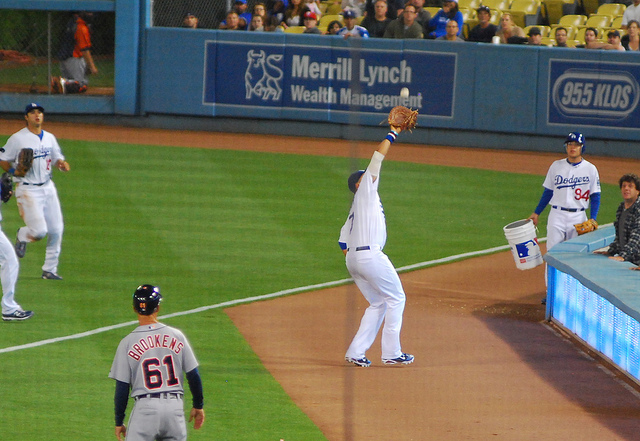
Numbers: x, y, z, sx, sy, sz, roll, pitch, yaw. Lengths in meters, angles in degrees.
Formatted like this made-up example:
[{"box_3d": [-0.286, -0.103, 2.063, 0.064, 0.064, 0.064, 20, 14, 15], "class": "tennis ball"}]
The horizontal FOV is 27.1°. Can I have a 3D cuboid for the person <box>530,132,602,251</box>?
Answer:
[{"box_3d": [4.171, -0.492, 22.570, 1.042, 1.925, 0.639, 4, 13, 11], "class": "person"}]

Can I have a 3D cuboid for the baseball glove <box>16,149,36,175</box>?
[{"box_3d": [-4.835, -0.992, 22.243, 0.311, 0.388, 0.137, 4, 7, -2], "class": "baseball glove"}]

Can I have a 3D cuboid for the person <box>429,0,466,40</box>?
[{"box_3d": [2.889, -4.600, 30.529, 0.765, 0.845, 1.462, 3, 11, 5], "class": "person"}]

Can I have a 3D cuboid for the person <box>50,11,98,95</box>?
[{"box_3d": [-5.784, -3.990, 31.783, 1.062, 1.986, 0.573, 0, 13, -9], "class": "person"}]

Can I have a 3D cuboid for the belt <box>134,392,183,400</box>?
[{"box_3d": [-2.150, 2.364, 18.221, 0.590, 0.093, 0.059, 0, 13, -7], "class": "belt"}]

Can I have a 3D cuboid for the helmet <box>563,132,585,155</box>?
[{"box_3d": [4.305, -1.308, 22.647, 0.304, 0.342, 0.342, 3, 12, 5], "class": "helmet"}]

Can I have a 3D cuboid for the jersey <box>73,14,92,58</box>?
[{"box_3d": [-5.586, -4.365, 31.595, 0.398, 0.883, 0.607, -12, 55, -16], "class": "jersey"}]

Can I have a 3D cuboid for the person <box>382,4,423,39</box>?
[{"box_3d": [1.915, -4.520, 30.237, 0.943, 0.759, 0.378, 8, 14, 29], "class": "person"}]

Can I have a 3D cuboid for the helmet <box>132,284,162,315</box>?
[{"box_3d": [-2.355, 1.133, 18.491, 0.417, 0.439, 0.498, 1, 13, 5], "class": "helmet"}]

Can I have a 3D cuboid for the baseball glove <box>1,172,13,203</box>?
[{"box_3d": [-5.105, -0.552, 21.992, 0.176, 0.451, 0.347, -1, 13, -13], "class": "baseball glove"}]

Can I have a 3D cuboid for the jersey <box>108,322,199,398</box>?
[{"box_3d": [-2.193, 1.861, 18.482, 0.949, 1.026, 1.210, 18, 16, 20], "class": "jersey"}]

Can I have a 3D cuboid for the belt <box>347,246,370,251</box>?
[{"box_3d": [0.670, 0.416, 20.486, 0.200, 0.074, 0.018, 2, 13, 3], "class": "belt"}]

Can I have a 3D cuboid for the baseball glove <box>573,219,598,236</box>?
[{"box_3d": [4.467, 0.100, 22.582, 0.382, 0.192, 0.138, -19, 5, -17], "class": "baseball glove"}]

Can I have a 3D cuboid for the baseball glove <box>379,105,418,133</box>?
[{"box_3d": [1.254, -1.557, 20.473, 0.421, 0.386, 0.568, 3, 12, 9], "class": "baseball glove"}]
